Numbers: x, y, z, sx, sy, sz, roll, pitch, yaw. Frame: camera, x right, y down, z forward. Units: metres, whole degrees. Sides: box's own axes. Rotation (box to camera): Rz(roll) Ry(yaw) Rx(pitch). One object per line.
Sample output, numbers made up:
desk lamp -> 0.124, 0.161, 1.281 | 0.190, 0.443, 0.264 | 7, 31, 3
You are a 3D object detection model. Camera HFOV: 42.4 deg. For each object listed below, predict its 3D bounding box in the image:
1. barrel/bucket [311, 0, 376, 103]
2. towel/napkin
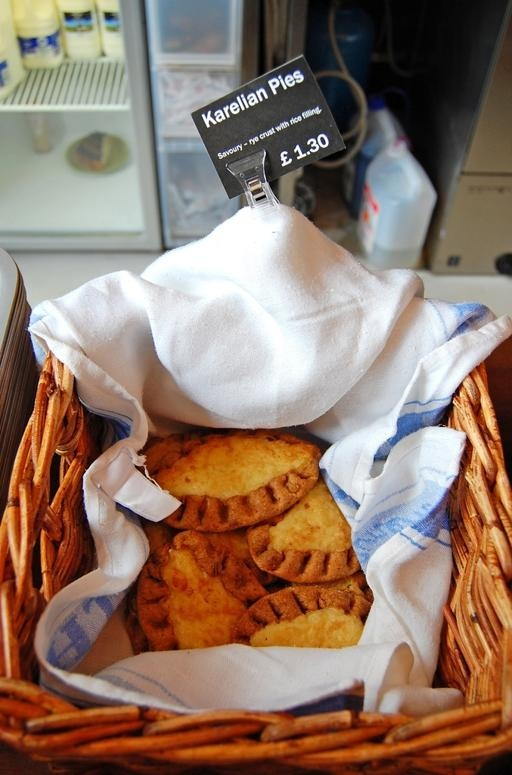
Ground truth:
barrel/bucket -> 0.182, -0.738, 1.493 | 0.145, 0.203, 0.149 | 1, 50, -2
towel/napkin -> 0.022, 0.016, 0.625 | 0.425, 0.160, 0.456 | -2, 79, -3
